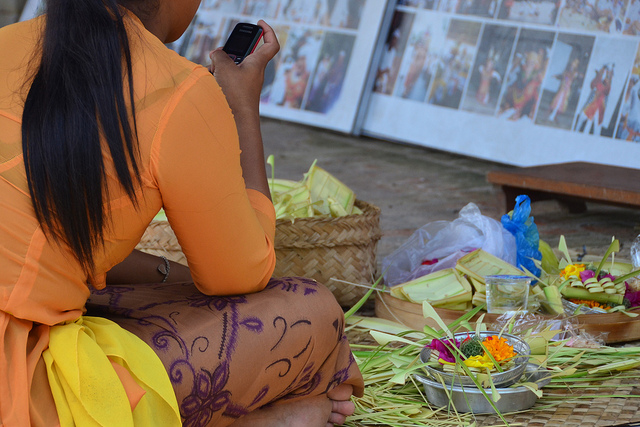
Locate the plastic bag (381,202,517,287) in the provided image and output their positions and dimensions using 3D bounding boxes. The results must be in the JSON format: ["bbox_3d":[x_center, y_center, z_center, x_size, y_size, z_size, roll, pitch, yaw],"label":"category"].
[{"bbox_3d":[0.481,0.136,2.498,0.397,0.191,0.331,-24,11,18],"label":"plastic bag"}]

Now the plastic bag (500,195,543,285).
[{"bbox_3d":[0.805,0.086,2.491,0.214,0.256,0.142,9,7,-19],"label":"plastic bag"}]

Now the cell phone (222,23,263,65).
[{"bbox_3d":[-0.203,-0.429,1.679,0.117,0.110,0.135,-2,12,-16],"label":"cell phone"}]
